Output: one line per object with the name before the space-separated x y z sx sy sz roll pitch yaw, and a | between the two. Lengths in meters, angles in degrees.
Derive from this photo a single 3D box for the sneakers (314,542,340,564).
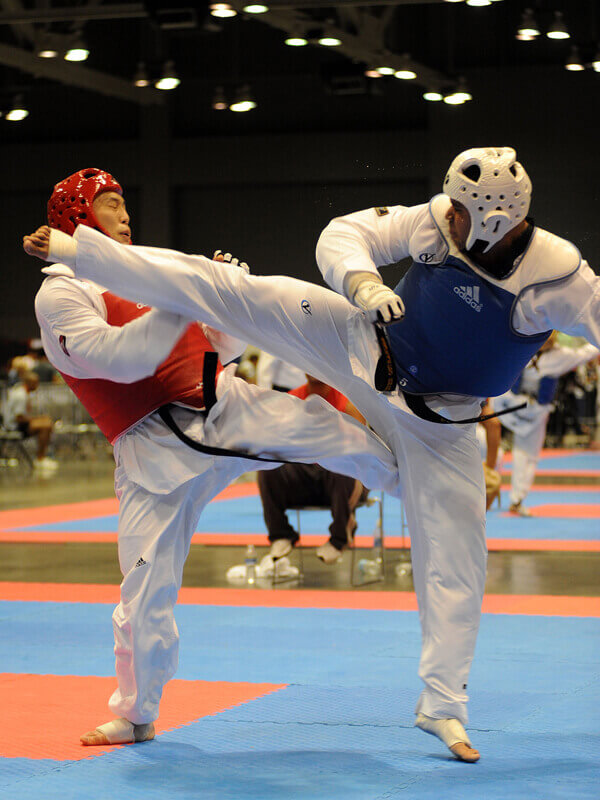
sneakers | 0.166 0.963 5.495 0.168 0.115 0.130 3 -3 -42

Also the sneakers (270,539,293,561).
sneakers | -0.121 0.995 5.825 0.182 0.120 0.129 -5 -1 -22

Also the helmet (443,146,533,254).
helmet | 0.517 -0.546 2.390 0.329 0.285 0.293 2 14 6

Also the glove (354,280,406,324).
glove | 0.214 -0.265 2.370 0.087 0.054 0.152 -28 29 -3

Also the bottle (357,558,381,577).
bottle | 0.486 1.159 6.051 0.201 0.072 0.234 0 -2 3

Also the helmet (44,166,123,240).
helmet | -0.738 -0.672 3.042 0.332 0.229 0.218 0 -6 -1

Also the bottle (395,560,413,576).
bottle | 0.735 1.159 6.061 0.170 0.071 0.198 1 3 4
